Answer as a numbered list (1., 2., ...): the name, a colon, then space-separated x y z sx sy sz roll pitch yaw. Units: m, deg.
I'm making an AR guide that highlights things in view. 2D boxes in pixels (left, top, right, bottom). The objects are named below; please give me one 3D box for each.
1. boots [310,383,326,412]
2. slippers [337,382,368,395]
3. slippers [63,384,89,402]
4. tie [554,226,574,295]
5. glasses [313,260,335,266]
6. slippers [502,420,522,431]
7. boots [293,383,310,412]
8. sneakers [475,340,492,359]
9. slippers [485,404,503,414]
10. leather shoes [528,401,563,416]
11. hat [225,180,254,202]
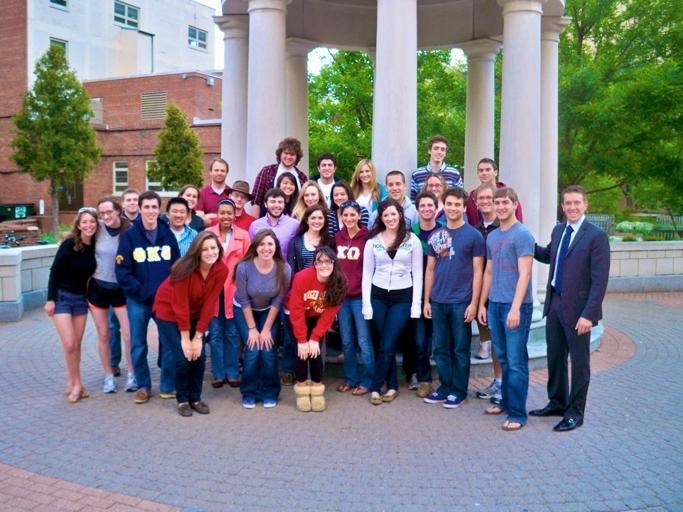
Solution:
1. boots: -0.307 1.813 7.810 0.199 0.304 0.227 0 9 -4
2. slippers: 0.153 1.842 8.362 0.353 0.088 0.165 5 -1 -2
3. slippers: -3.544 1.817 8.048 0.138 0.363 0.381 -6 -15 17
4. tie: 2.706 0.044 7.337 0.192 0.824 0.138 1 9 5
5. glasses: -0.207 0.082 7.631 0.257 0.078 0.096 -1 9 -8
6. slippers: 2.061 2.026 7.267 0.186 0.067 0.104 5 2 -5
7. boots: -0.499 1.806 7.839 0.199 0.315 0.286 -1 9 -6
8. sneakers: 2.144 1.398 9.109 0.139 0.150 0.384 2 10 24
9. slippers: 1.948 1.949 7.723 0.184 0.050 0.101 4 4 18
10. leather shoes: 2.620 1.943 7.754 0.491 0.199 0.167 2 -5 2
11. hat: -1.498 -1.028 9.106 0.319 0.139 0.363 10 -12 -2
